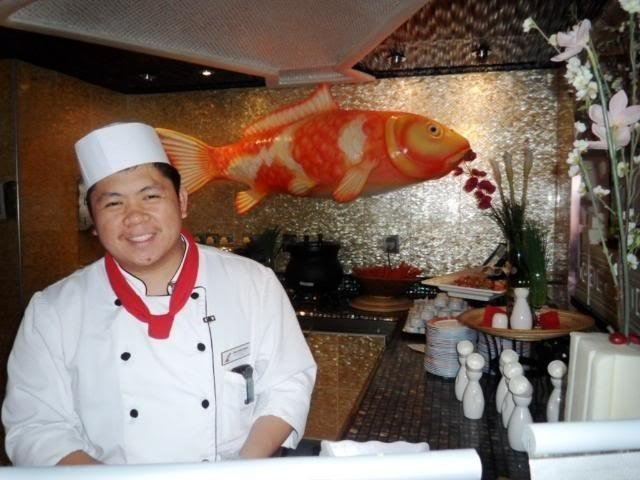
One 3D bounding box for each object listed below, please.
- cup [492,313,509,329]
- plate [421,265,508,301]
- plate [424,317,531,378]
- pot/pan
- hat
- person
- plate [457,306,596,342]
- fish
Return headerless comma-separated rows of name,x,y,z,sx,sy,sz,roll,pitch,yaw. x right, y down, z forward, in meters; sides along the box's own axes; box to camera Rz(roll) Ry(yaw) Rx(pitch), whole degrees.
cup,0.633,0.284,1.615,0.055,0.049,0.054,1,-3,0
plate,0.791,0.249,2.521,0.399,0.172,0.679,9,9,19
plate,0.583,0.407,1.883,0.281,0.120,0.271,5,-4,-41
pot/pan,0.202,0.152,3.172,0.787,0.288,0.449,0,-4,10
hat,-0.583,-0.264,1.417,0.241,0.154,0.234,-25,-1,-21
person,-0.423,0.207,1.329,0.863,0.840,0.521,7,8,0
plate,0.713,0.311,1.674,0.295,0.049,0.285,0,-1,-9
fish,-0.285,-0.502,2.887,2.256,0.884,0.666,-2,8,10
